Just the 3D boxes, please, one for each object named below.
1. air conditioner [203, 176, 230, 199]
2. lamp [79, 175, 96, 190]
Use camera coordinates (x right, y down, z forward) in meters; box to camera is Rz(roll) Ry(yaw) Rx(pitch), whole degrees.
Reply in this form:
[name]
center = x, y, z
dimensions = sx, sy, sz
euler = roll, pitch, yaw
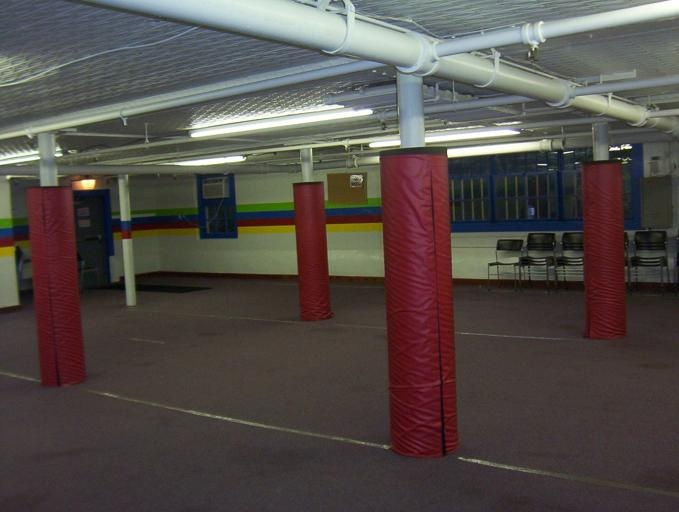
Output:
[air conditioner]
center = -4.221, -2.357, 18.751
dimensions = 1.194, 0.726, 0.265
euler = 3, 8, 38
[lamp]
center = -8.038, -2.326, 17.614
dimensions = 0.447, 0.246, 0.398
euler = -1, 3, 18
